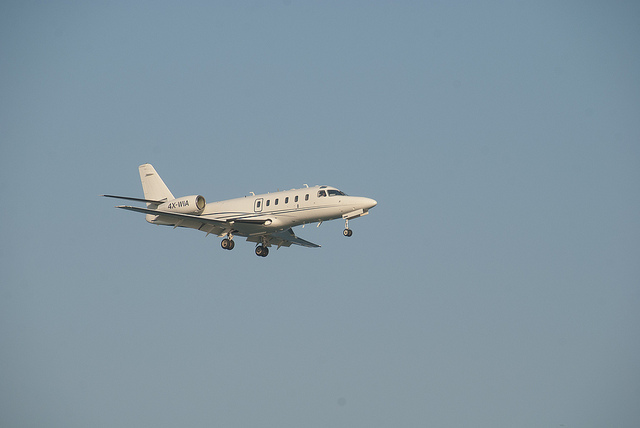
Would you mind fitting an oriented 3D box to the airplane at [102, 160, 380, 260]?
[{"bbox_3d":[-2.112,-0.473,36.763,7.170,7.376,2.780,-5,-87,15],"label":"airplane"}]
